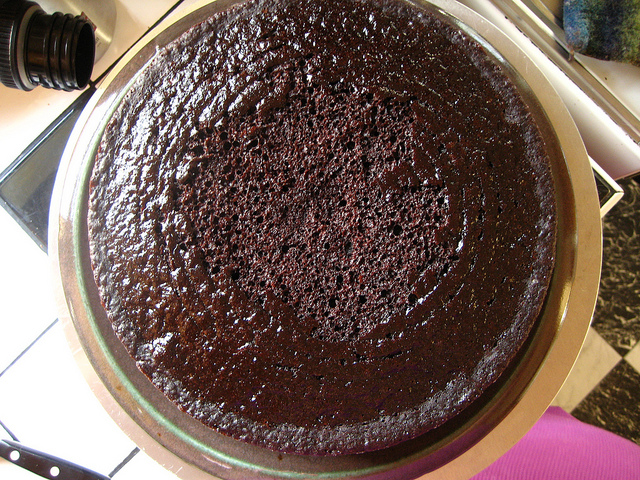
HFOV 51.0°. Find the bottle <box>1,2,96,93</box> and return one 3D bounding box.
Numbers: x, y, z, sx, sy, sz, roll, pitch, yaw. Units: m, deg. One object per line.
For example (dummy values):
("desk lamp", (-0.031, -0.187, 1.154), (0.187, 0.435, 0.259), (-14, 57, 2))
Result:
("bottle", (-0.458, -0.304, 1.182), (0.117, 0.160, 0.178), (4, 92, 5))
